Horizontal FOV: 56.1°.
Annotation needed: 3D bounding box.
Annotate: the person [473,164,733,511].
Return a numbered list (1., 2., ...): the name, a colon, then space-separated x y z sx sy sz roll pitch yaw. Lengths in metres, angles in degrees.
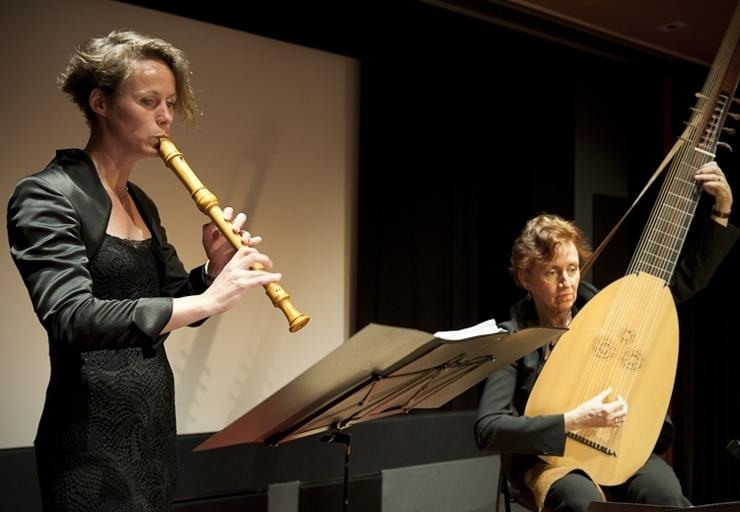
1. person: 1.149 0.441 3.388 0.736 1.570 1.580 24 3 25

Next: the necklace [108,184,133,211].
1. necklace: -0.892 -0.211 2.484 0.022 0.077 0.058 -32 -32 15

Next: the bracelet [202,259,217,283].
1. bracelet: -0.616 0.058 2.702 0.048 0.097 0.072 -5 -5 15
